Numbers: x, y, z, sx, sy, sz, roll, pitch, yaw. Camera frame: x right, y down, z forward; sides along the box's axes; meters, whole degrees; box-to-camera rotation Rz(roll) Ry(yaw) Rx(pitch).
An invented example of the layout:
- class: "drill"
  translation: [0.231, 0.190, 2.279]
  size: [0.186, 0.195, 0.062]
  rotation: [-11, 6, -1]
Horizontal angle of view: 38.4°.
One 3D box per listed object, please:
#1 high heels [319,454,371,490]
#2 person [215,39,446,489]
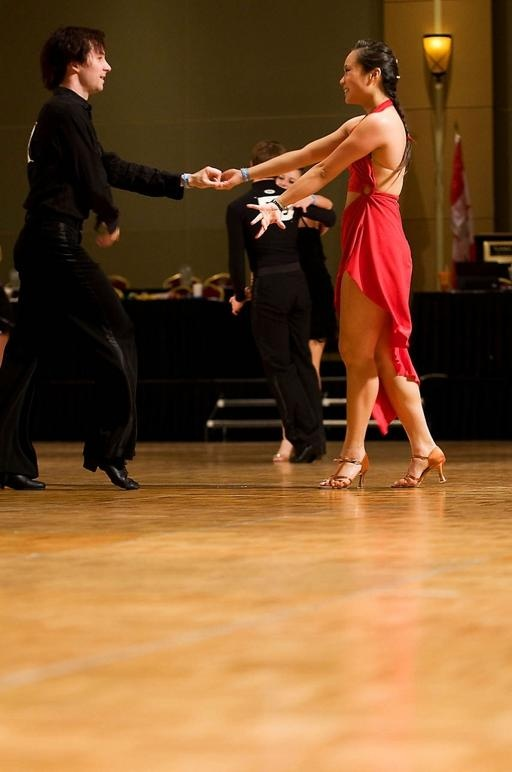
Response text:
- class: "high heels"
  translation: [0.345, 0.319, 2.662]
  size: [0.251, 0.128, 0.087]
  rotation: [8, -11, -39]
- class: "person"
  translation: [0.367, -0.415, 2.551]
  size: [0.454, 1.550, 0.317]
  rotation: [-7, 8, -26]
